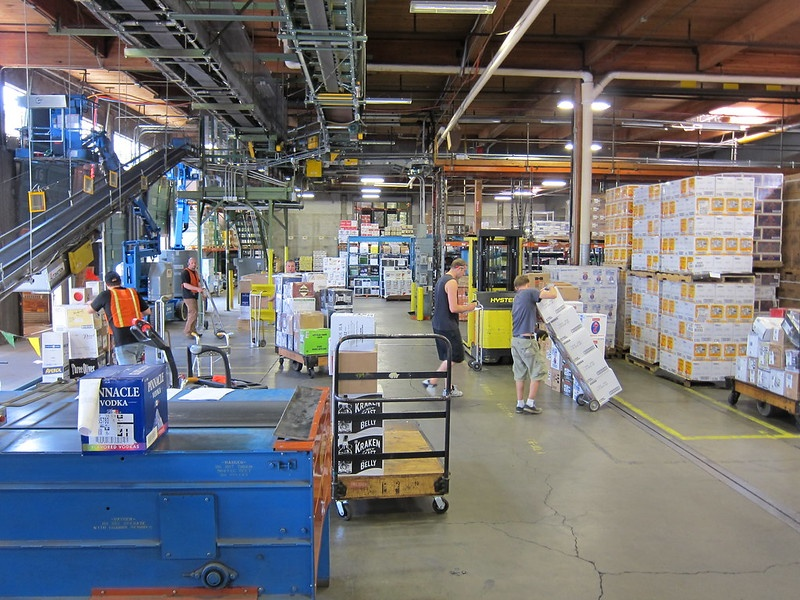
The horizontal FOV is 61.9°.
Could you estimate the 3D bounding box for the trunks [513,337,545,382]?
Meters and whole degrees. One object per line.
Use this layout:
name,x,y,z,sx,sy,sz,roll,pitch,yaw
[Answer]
trunks,1.951,0.920,10.186,0.455,0.703,0.290,-1,7,3

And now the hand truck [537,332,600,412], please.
hand truck,2.745,1.189,10.764,0.627,0.954,1.064,-11,14,-3

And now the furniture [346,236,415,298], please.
furniture,-0.879,-1.321,27.873,3.292,2.654,0.998,0,1,4

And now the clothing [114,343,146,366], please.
clothing,-4.012,0.800,9.875,0.279,0.335,0.468,-2,4,-2

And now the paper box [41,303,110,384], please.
paper box,-5.220,0.713,10.748,0.763,1.123,1.290,-1,4,-8

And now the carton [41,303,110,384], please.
carton,-5.220,0.713,10.748,0.763,1.123,1.290,-1,4,-8
